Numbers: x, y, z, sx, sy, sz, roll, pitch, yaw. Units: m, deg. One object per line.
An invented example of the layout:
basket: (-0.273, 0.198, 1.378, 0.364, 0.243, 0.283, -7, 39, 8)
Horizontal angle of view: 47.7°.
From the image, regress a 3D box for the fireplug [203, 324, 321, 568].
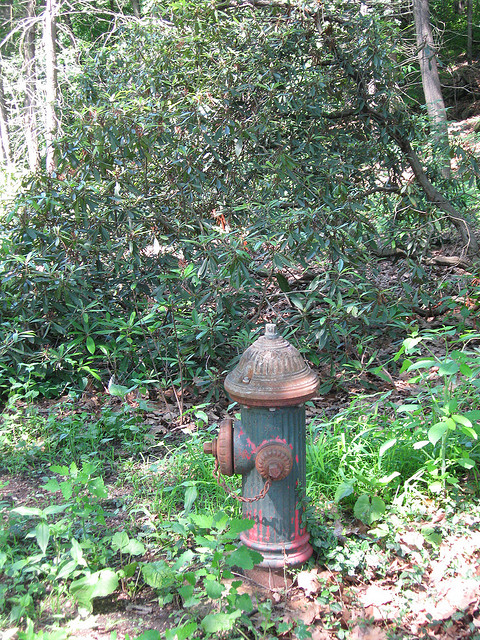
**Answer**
fireplug: (0.095, 0.498, 2.172, 0.481, 0.959, 0.280, -5, 4, 4)
